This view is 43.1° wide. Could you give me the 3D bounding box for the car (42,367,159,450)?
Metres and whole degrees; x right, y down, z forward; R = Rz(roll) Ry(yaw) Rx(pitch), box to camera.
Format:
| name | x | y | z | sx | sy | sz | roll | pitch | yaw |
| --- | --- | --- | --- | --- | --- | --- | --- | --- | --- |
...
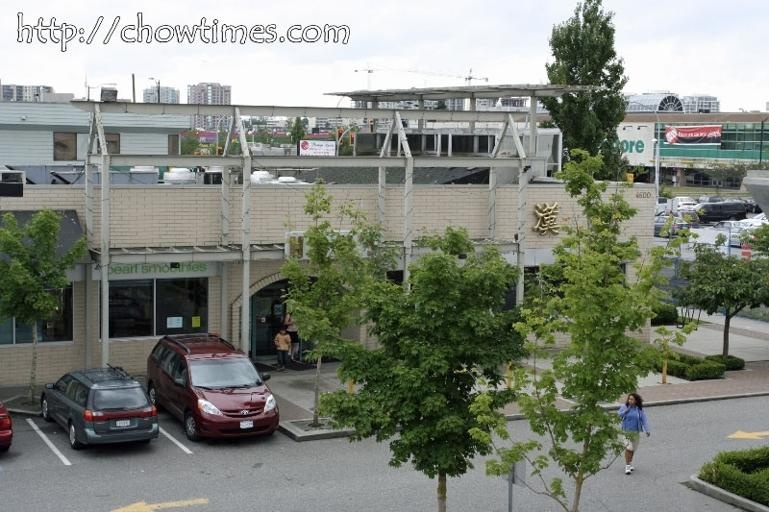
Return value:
| name | x | y | z | sx | sy | sz | roll | pitch | yaw |
| --- | --- | --- | --- | --- | --- | --- | --- | --- | --- |
| car | -8.718 | 4.697 | 29.723 | 3.680 | 2.007 | 1.883 | 14 | 19 | 38 |
